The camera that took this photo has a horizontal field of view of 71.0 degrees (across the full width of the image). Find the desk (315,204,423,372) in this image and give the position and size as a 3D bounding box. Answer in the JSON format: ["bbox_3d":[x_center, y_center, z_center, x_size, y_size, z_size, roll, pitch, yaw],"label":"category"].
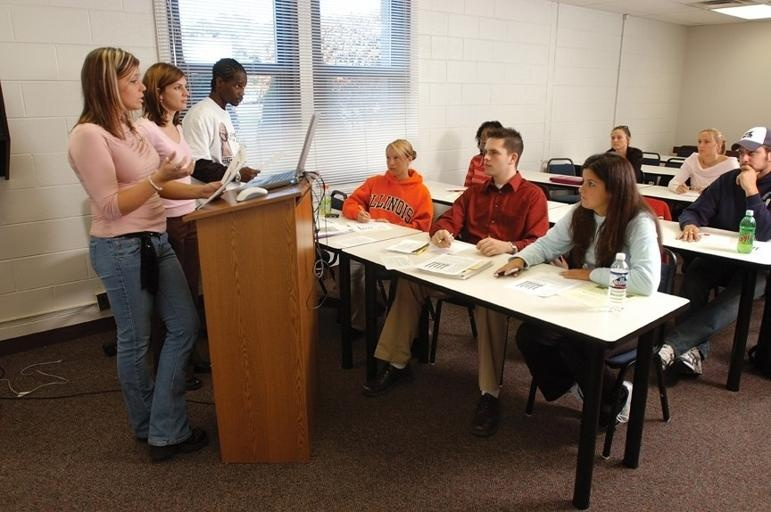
[{"bbox_3d":[-0.163,0.258,4.062,0.854,0.823,0.865,4,9,30],"label":"desk"}]

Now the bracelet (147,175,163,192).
[{"bbox_3d":[-1.224,-0.398,2.890,0.076,0.076,0.018,38,79,26],"label":"bracelet"}]

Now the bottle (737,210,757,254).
[{"bbox_3d":[2.447,-0.181,3.656,0.103,0.276,0.251,13,23,33],"label":"bottle"}]

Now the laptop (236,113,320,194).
[{"bbox_3d":[-0.568,-0.574,3.297,0.503,0.422,0.589,1,14,4],"label":"laptop"}]

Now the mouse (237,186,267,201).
[{"bbox_3d":[-0.703,-0.345,2.924,0.077,0.042,0.132,11,17,34],"label":"mouse"}]

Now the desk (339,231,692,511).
[{"bbox_3d":[0.854,0.657,3.293,1.460,1.068,0.718,15,24,36],"label":"desk"}]

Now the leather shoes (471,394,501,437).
[{"bbox_3d":[0.657,0.985,3.456,0.153,0.144,0.418,7,17,19],"label":"leather shoes"}]

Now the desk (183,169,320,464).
[{"bbox_3d":[-0.716,0.443,2.998,0.573,1.567,0.352,-5,20,-17],"label":"desk"}]

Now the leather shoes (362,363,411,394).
[{"bbox_3d":[0.021,0.846,3.749,0.346,0.150,0.147,-18,13,-28],"label":"leather shoes"}]

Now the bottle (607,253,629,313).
[{"bbox_3d":[1.262,0.118,2.923,0.096,0.290,0.269,9,21,24],"label":"bottle"}]

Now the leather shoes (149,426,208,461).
[{"bbox_3d":[-1.200,1.125,3.263,0.148,0.160,0.342,13,21,38],"label":"leather shoes"}]

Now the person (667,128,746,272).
[{"bbox_3d":[3.206,-0.718,5.425,0.613,1.044,0.535,0,3,-22],"label":"person"}]
